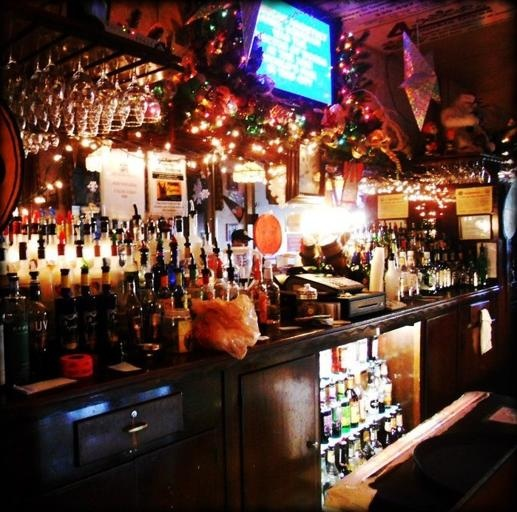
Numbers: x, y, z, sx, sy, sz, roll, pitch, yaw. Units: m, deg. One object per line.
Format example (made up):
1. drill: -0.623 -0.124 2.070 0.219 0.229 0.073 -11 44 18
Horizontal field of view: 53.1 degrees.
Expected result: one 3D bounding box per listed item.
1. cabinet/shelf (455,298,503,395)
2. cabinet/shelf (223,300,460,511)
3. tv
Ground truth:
1. cabinet/shelf: 1.861 0.681 4.180 0.413 0.453 0.234 -8 2 -25
2. cabinet/shelf: 0.513 0.779 2.659 0.403 0.943 1.909 0 3 31
3. tv: 0.198 -1.249 3.205 0.010 0.730 0.909 -4 -5 36
